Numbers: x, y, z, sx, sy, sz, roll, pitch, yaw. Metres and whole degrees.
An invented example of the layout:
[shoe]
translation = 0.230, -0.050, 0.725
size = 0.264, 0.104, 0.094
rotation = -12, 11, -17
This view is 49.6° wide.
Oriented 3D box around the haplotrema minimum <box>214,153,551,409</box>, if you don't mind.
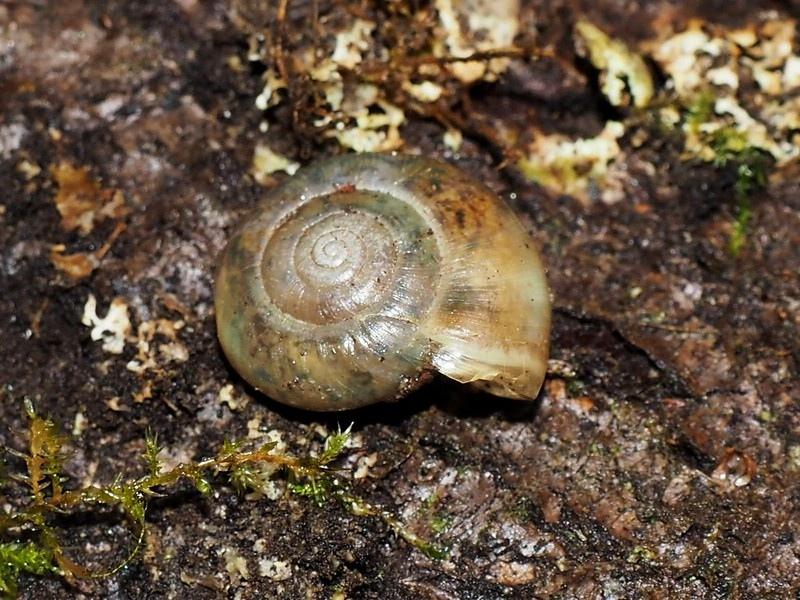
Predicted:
[haplotrema minimum]
translation = -0.075, -0.099, 4.069
size = 1.561, 0.279, 1.194
rotation = 0, 85, -2
